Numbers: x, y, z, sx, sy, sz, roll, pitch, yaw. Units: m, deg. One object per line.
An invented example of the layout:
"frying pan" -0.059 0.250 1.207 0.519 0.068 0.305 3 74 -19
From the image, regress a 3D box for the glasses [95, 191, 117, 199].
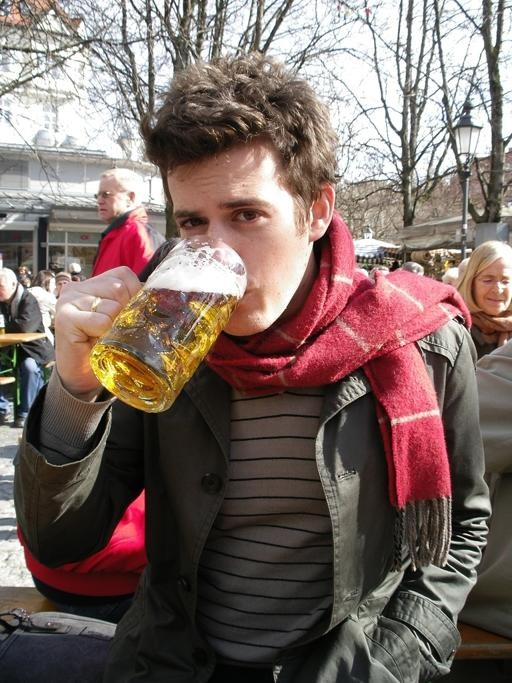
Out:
"glasses" -1.203 -1.192 5.058 0.100 0.027 0.099 2 6 20

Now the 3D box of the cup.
"cup" -0.130 -0.033 1.115 0.308 0.312 0.202 -1 6 -25
